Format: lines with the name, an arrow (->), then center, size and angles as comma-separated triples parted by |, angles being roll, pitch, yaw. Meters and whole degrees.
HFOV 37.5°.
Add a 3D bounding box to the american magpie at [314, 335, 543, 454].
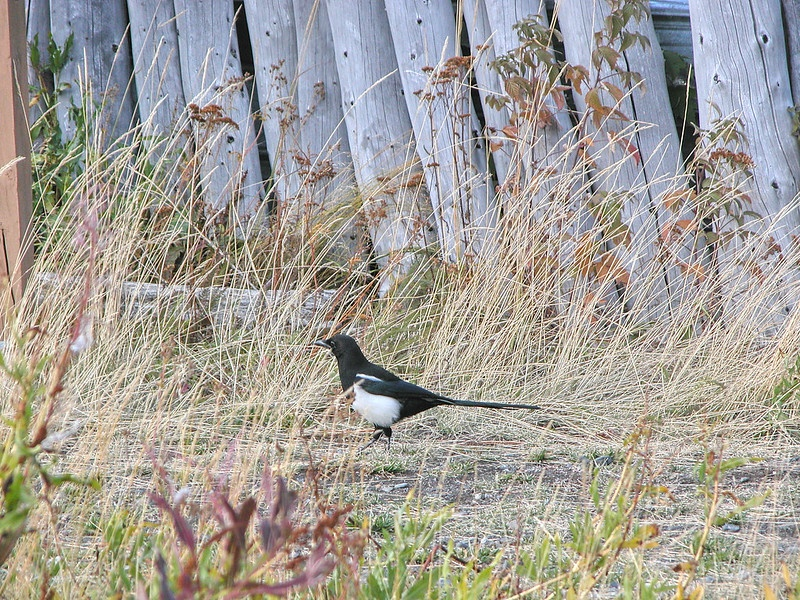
american magpie -> -0.024, 0.428, 4.768 | 0.703, 0.447, 0.339 | 9, 18, -2
